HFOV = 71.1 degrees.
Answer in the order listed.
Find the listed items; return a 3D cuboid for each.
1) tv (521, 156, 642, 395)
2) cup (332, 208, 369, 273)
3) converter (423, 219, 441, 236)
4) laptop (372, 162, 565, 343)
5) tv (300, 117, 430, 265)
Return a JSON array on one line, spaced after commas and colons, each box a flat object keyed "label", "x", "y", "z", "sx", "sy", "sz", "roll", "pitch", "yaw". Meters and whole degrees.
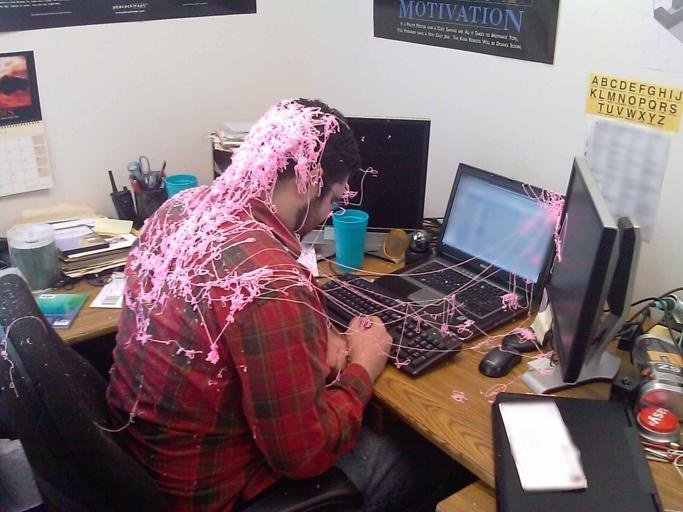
[{"label": "tv", "x": 0.604, "y": 0.064, "z": 1.197, "sx": 0.224, "sy": 0.444, "sz": 0.440, "roll": -8, "pitch": 35, "yaw": 5}, {"label": "cup", "x": 0.028, "y": -0.065, "z": 1.680, "sx": 0.115, "sy": 0.161, "sz": 0.115, "roll": -1, "pitch": 25, "yaw": 0}, {"label": "converter", "x": 0.361, "y": -0.107, "z": 1.908, "sx": 0.070, "sy": 0.021, "sz": 0.078, "roll": 9, "pitch": 44, "yaw": 19}, {"label": "laptop", "x": 0.381, "y": -0.050, "z": 1.506, "sx": 0.538, "sy": 0.322, "sz": 0.498, "roll": 16, "pitch": 33, "yaw": 40}, {"label": "tv", "x": 0.060, "y": -0.250, "z": 1.720, "sx": 0.470, "sy": 0.478, "sz": 0.313, "roll": 7, "pitch": 20, "yaw": 27}]
